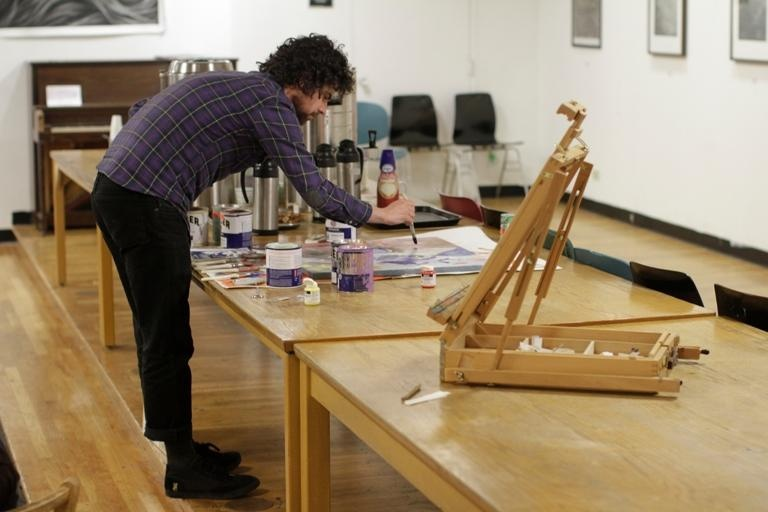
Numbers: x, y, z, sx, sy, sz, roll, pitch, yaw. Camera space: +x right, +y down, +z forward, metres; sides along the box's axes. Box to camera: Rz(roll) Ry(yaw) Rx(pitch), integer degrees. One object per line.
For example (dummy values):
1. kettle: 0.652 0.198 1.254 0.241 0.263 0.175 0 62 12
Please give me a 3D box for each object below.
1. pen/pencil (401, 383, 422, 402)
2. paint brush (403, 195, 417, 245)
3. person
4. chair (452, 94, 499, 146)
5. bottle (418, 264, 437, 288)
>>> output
1. pen/pencil: 0.073 0.346 1.715 0.020 0.018 0.081 -3 11 29
2. paint brush: 0.120 -0.162 2.949 0.026 0.227 0.024 -9 9 -5
3. person: -0.613 0.005 2.944 1.424 1.845 0.823 -1 10 -24
4. chair: 1.187 -1.720 8.940 0.722 0.724 0.657 1 -5 2
5. bottle: 0.173 0.088 2.638 0.075 0.080 0.076 0 0 -4
